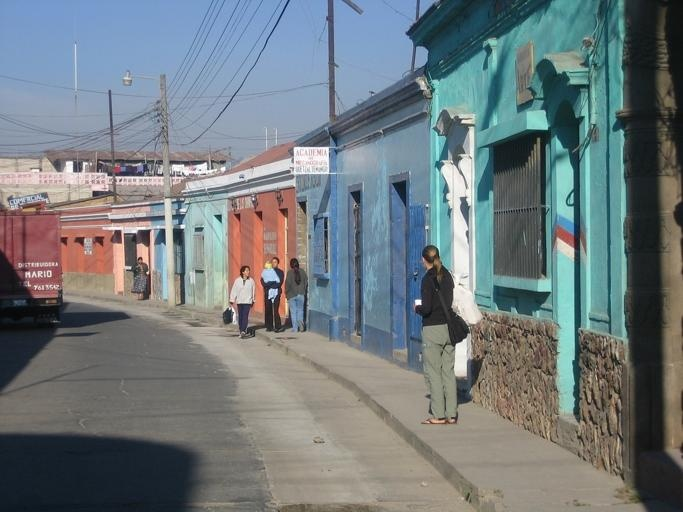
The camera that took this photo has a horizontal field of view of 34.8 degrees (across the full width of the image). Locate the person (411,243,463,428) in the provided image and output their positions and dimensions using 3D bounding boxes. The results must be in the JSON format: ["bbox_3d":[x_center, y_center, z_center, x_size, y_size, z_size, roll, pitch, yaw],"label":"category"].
[{"bbox_3d":[1.230,1.018,13.975,0.557,2.282,0.440,0,3,2],"label":"person"}]

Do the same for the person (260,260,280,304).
[{"bbox_3d":[-1.583,0.593,24.740,0.438,0.885,0.485,0,3,-3],"label":"person"}]

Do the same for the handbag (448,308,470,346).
[{"bbox_3d":[1.493,0.915,13.892,0.276,0.447,0.166,0,3,-4],"label":"handbag"}]

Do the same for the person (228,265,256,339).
[{"bbox_3d":[-2.244,0.998,24.607,0.507,1.613,1.395,0,3,-6],"label":"person"}]

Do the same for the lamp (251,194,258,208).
[{"bbox_3d":[-2.312,-1.473,29.304,0.100,0.399,0.528,-1,3,-17],"label":"lamp"}]

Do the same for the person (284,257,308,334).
[{"bbox_3d":[-1.007,0.883,24.507,0.477,1.661,0.730,0,3,-2],"label":"person"}]

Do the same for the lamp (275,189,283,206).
[{"bbox_3d":[-1.542,-1.445,27.242,0.072,0.354,0.531,-1,3,-19],"label":"lamp"}]

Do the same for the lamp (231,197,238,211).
[{"bbox_3d":[-3.041,-1.484,31.430,0.074,0.349,0.326,-5,2,-34],"label":"lamp"}]
